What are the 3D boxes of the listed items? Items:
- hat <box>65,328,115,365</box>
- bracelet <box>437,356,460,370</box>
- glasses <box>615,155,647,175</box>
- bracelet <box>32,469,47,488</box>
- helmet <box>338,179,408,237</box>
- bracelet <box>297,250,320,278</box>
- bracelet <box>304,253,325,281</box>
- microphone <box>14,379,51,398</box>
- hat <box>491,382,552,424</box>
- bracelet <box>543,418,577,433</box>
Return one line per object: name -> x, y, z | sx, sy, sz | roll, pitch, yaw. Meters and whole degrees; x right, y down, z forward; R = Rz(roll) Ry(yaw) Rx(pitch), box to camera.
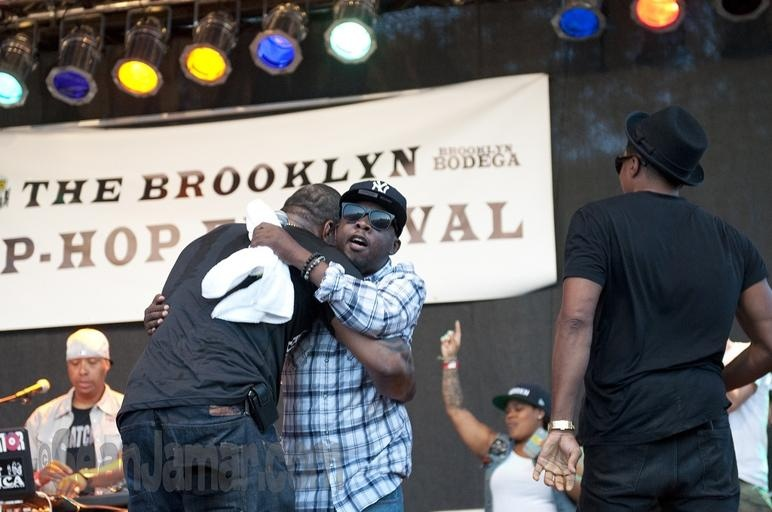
hat -> -2.402, 0.727, 9.513 | 0.283, 0.204, 0.273 | 7, -18, -14
bracelet -> 0.481, 0.824, 9.063 | 0.119, 0.087, 0.115 | 1, -7, -3
glasses -> 1.468, -0.545, 7.182 | 0.131, 0.045, 0.126 | 9, -2, -13
bracelet -> -2.617, 1.693, 8.964 | 0.134, 0.181, 0.045 | -11, -21, 24
helmet -> -0.040, -0.379, 7.405 | 0.353, 0.355, 0.358 | 18, 24, 9
bracelet -> -0.450, 0.048, 6.905 | 0.046, 0.124, 0.112 | 32, -33, 8
bracelet -> -0.428, 0.060, 6.914 | 0.041, 0.135, 0.138 | 25, -14, 10
microphone -> -2.751, 1.045, 9.225 | 0.422, 0.126, 0.128 | -18, -10, 37
hat -> 1.022, 1.076, 8.871 | 0.374, 0.165, 0.261 | 24, -13, 1
bracelet -> 1.016, 1.002, 6.877 | 0.144, 0.084, 0.158 | -7, -12, 3
